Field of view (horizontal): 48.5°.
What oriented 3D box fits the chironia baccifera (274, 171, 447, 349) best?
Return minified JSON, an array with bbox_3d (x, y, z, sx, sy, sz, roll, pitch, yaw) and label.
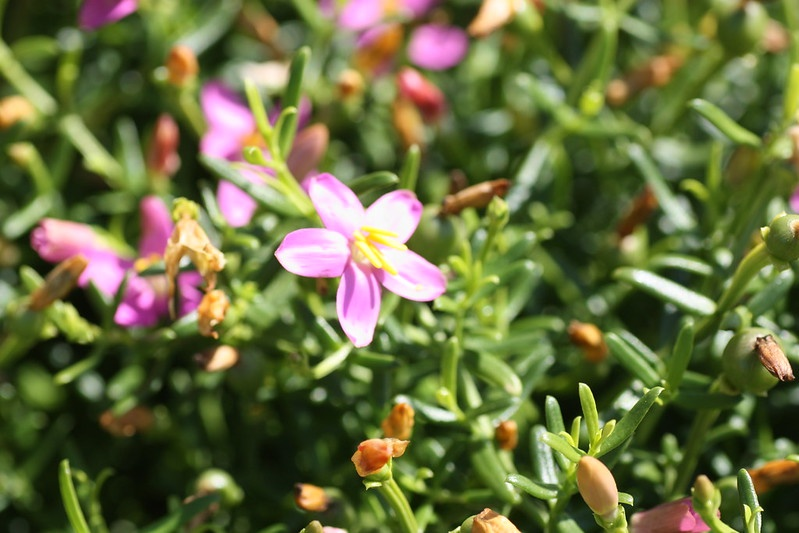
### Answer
[{"bbox_3d":[-0.051,-0.020,1.032,0.190,0.207,0.066,-33,6,-23],"label":"chironia baccifera"}]
